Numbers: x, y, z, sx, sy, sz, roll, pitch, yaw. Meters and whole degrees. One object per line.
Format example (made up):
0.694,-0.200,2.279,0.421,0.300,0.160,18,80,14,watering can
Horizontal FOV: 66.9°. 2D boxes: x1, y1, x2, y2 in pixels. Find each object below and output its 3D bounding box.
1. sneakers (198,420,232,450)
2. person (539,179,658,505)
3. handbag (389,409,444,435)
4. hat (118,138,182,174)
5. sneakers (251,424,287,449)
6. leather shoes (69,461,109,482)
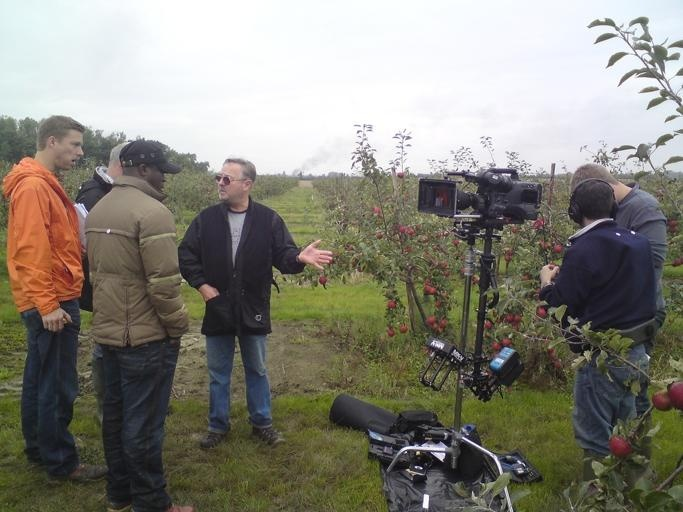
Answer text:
-1.302,1.850,5.233,0.132,0.153,0.376,2,-14,4,sneakers
2.101,0.643,4.246,0.910,2.519,0.807,3,9,19,person
0.745,1.683,5.269,0.348,0.132,0.270,0,-5,-6,handbag
-1.681,-0.899,4.582,0.460,0.255,0.305,2,15,-3,hat
-0.750,1.843,5.312,0.379,0.167,0.143,1,0,33,sneakers
-2.337,1.987,4.780,0.295,0.132,0.159,-3,9,-15,leather shoes
